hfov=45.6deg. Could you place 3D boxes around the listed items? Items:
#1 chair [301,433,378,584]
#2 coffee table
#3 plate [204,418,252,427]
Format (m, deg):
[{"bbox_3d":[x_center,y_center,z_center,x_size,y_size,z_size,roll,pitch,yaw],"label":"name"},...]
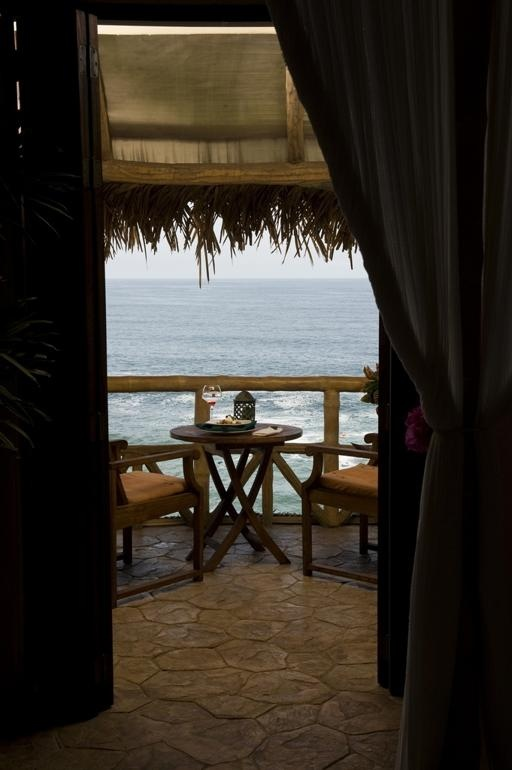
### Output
[{"bbox_3d":[0.465,0.674,3.424,0.431,0.751,1.447,-1,1,10],"label":"chair"},{"bbox_3d":[-0.125,0.700,3.789,0.668,0.802,0.703,1,-6,-18],"label":"coffee table"},{"bbox_3d":[-0.164,0.221,3.694,0.272,0.048,0.351,-1,1,0],"label":"plate"}]
